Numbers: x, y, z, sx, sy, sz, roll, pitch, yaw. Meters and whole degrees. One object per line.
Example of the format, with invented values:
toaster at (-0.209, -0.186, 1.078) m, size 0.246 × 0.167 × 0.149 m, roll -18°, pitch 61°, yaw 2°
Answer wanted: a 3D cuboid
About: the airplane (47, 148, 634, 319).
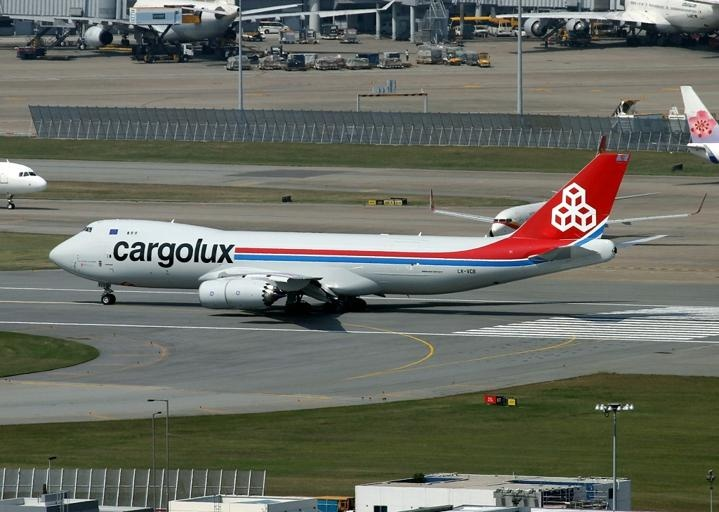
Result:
airplane at (-1.259, -1.756, 160.675) m, size 38.482 × 10.743 × 58.710 m, roll -4°, pitch 1°, yaw 33°
